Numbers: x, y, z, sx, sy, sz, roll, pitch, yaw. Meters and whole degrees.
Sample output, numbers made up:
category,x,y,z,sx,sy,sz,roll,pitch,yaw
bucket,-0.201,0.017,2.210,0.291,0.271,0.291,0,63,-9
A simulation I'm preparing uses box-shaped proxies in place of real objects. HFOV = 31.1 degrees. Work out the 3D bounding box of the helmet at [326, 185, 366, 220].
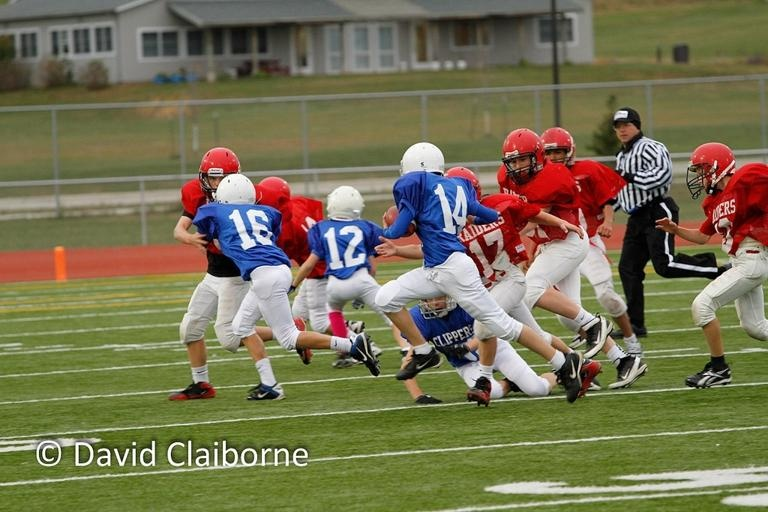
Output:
category,x,y,z,sx,sy,sz,roll,pitch,yaw
helmet,-0.443,-0.628,16.150,0.372,0.325,0.427,3,14,-16

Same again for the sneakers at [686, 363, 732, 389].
category,x,y,z,sx,sy,sz,roll,pitch,yaw
sneakers,3.692,1.335,15.373,0.613,0.260,0.203,-4,4,0

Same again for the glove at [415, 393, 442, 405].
category,x,y,z,sx,sy,sz,roll,pitch,yaw
glove,0.494,1.567,15.208,0.323,0.115,0.107,0,9,0

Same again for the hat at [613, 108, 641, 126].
category,x,y,z,sx,sy,sz,roll,pitch,yaw
hat,3.037,-1.757,17.121,0.278,0.206,0.390,-2,-4,38

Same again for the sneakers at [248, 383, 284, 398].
category,x,y,z,sx,sy,sz,roll,pitch,yaw
sneakers,-1.289,1.497,15.549,0.465,0.178,0.157,1,8,-3

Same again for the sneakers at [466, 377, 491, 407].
category,x,y,z,sx,sy,sz,roll,pitch,yaw
sneakers,1.036,1.443,14.865,0.254,0.313,0.184,-3,6,4

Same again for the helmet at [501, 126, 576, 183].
category,x,y,z,sx,sy,sz,roll,pitch,yaw
helmet,1.684,-1.180,15.737,0.493,0.519,0.639,-11,12,31
